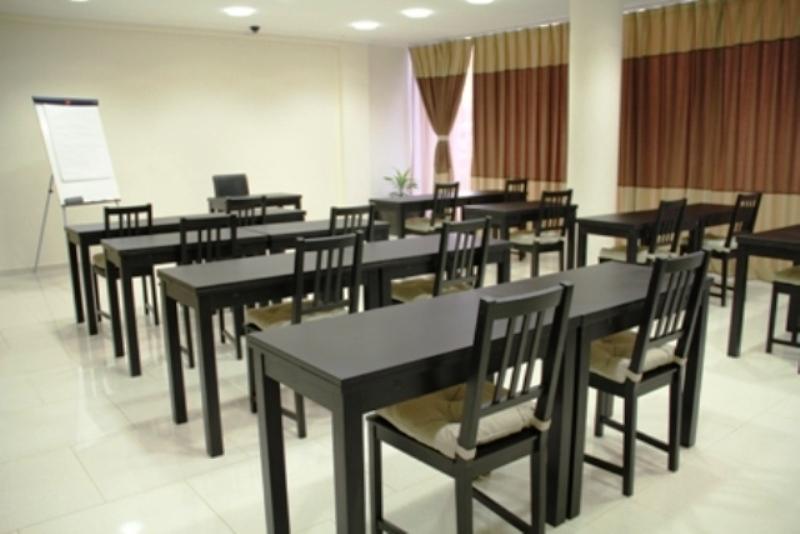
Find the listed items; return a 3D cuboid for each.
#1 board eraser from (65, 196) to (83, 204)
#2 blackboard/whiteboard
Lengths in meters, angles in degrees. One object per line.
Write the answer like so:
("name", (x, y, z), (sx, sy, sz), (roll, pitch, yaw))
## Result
("board eraser", (-3.924, -0.795, 7.445), (0.167, 0.041, 0.105), (-12, 36, -43))
("blackboard/whiteboard", (-3.939, -1.422, 7.554), (0.718, 1.284, 0.570), (-10, 14, -27))
